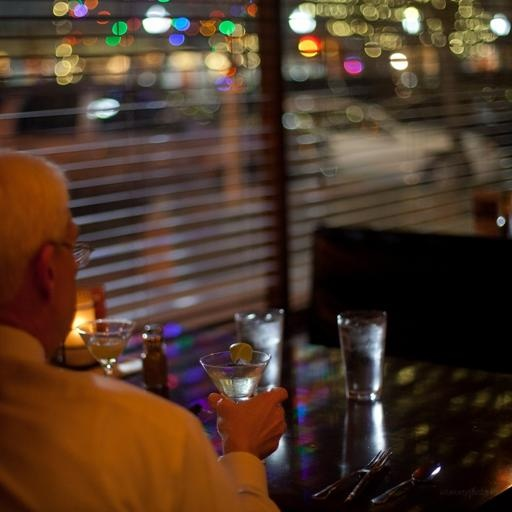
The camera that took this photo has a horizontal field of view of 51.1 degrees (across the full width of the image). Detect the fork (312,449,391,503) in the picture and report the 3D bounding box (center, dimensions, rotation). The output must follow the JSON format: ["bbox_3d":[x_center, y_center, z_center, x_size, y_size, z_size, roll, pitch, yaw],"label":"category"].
[{"bbox_3d":[0.184,0.390,0.980,0.050,0.019,0.154,-11,10,43],"label":"fork"}]

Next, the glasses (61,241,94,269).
[{"bbox_3d":[-0.288,-0.002,0.901,0.030,0.058,0.065,-9,1,21],"label":"glasses"}]
